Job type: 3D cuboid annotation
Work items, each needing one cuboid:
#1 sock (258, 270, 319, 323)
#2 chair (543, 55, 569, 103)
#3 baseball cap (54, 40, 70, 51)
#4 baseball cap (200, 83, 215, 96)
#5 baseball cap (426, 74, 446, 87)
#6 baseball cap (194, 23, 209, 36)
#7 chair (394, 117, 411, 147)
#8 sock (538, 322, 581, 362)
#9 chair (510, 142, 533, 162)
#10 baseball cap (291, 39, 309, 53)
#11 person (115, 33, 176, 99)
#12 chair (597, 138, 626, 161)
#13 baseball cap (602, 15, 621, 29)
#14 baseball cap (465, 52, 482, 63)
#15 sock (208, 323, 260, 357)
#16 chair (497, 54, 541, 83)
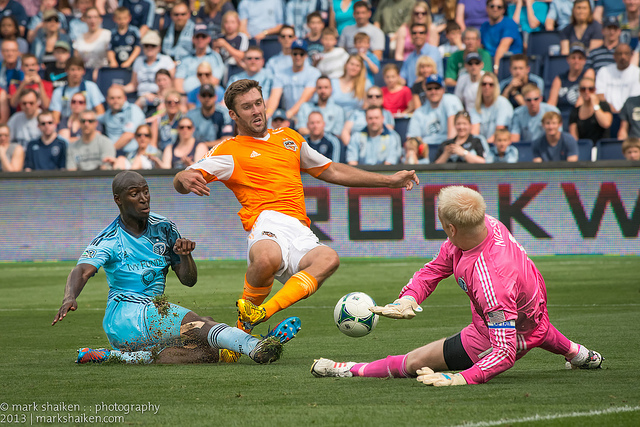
[{"bbox_3d":[-0.453,1.141,19.040,0.874,0.559,0.276,-9,16,-30],"label":"sock"},{"bbox_3d":[4.374,-2.529,25.165,0.464,0.649,0.884,1,14,10],"label":"chair"},{"bbox_3d":[-5.053,-3.270,26.854,0.264,0.194,0.391,-1,14,2],"label":"baseball cap"},{"bbox_3d":[-2.049,-2.234,24.951,0.265,0.177,0.365,-2,14,-5],"label":"baseball cap"},{"bbox_3d":[2.111,-2.374,24.582,0.291,0.214,0.474,-1,-13,8],"label":"baseball cap"},{"bbox_3d":[-2.277,-3.508,26.314,0.266,0.199,0.289,-2,14,-5],"label":"baseball cap"},{"bbox_3d":[1.509,-1.464,24.786,0.274,0.480,0.540,0,14,3],"label":"chair"},{"bbox_3d":[3.247,1.756,18.312,0.598,0.516,0.416,-2,-1,15],"label":"sock"},{"bbox_3d":[3.558,-0.998,23.972,0.435,0.414,0.295,0,-6,9],"label":"chair"},{"bbox_3d":[-0.372,-3.099,25.518,0.299,0.247,0.380,-2,14,-4],"label":"baseball cap"},{"bbox_3d":[-3.221,-2.756,26.521,0.885,1.467,1.666,1,-2,11],"label":"person"},{"bbox_3d":[5.030,-1.065,23.504,0.379,0.344,0.394,-4,14,-13],"label":"chair"},{"bbox_3d":[5.341,-3.450,24.840,0.337,0.170,0.522,1,6,12],"label":"baseball cap"},{"bbox_3d":[2.796,-2.810,24.740,0.246,0.179,0.398,-1,16,12],"label":"baseball cap"},{"bbox_3d":[-1.150,1.749,18.523,0.718,0.375,0.237,7,16,29],"label":"sock"},{"bbox_3d":[3.752,-2.545,25.482,0.726,0.709,0.517,0,-5,7],"label":"chair"}]
